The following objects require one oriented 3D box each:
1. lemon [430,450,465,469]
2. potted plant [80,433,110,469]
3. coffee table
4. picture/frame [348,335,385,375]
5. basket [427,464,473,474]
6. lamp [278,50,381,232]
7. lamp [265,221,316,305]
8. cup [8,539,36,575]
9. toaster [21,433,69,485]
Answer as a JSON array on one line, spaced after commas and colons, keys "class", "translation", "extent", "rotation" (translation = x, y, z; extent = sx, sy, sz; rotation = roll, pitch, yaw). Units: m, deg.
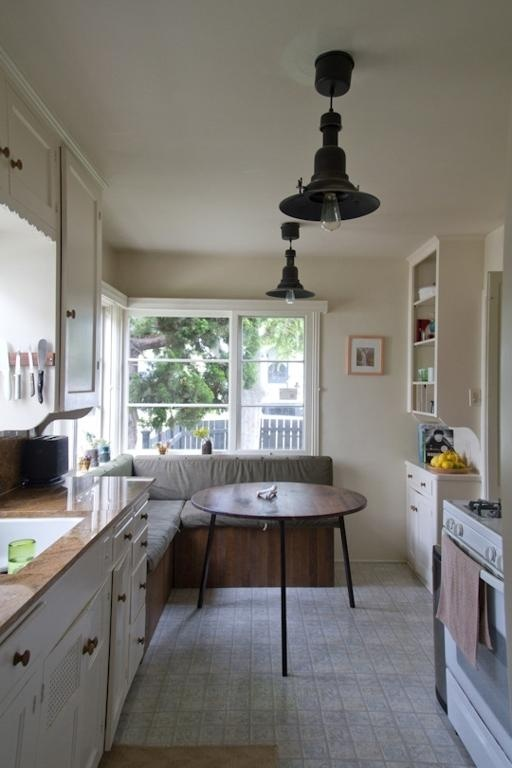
[{"class": "lemon", "translation": [1.249, 0.511, 3.624], "extent": [0.128, 0.071, 0.155], "rotation": [0, -4, 5]}, {"class": "potted plant", "translation": [-1.035, 0.431, 3.569], "extent": [0.117, 0.223, 0.214], "rotation": [-1, -7, 4]}, {"class": "coffee table", "translation": [0.132, 0.975, 3.010], "extent": [0.730, 0.647, 0.847], "rotation": [1, -8, -7]}, {"class": "picture/frame", "translation": [0.822, -0.212, 4.167], "extent": [0.257, 0.343, 0.014], "rotation": [0, -2, -3]}, {"class": "basket", "translation": [1.264, 0.558, 3.570], "extent": [0.284, 0.041, 0.152], "rotation": [2, 1, 18]}, {"class": "lamp", "translation": [0.231, -0.717, 1.681], "extent": [0.300, 0.351, 0.299], "rotation": [1, 1, -38]}, {"class": "lamp", "translation": [0.201, -0.714, 3.192], "extent": [0.251, 0.396, 0.273], "rotation": [-1, 4, -5]}, {"class": "cup", "translation": [-0.642, 0.480, 1.521], "extent": [0.059, 0.109, 0.062], "rotation": [3, 2, 0]}, {"class": "toaster", "translation": [-0.979, 0.353, 2.623], "extent": [0.152, 0.280, 0.305], "rotation": [-3, -4, -1]}]
